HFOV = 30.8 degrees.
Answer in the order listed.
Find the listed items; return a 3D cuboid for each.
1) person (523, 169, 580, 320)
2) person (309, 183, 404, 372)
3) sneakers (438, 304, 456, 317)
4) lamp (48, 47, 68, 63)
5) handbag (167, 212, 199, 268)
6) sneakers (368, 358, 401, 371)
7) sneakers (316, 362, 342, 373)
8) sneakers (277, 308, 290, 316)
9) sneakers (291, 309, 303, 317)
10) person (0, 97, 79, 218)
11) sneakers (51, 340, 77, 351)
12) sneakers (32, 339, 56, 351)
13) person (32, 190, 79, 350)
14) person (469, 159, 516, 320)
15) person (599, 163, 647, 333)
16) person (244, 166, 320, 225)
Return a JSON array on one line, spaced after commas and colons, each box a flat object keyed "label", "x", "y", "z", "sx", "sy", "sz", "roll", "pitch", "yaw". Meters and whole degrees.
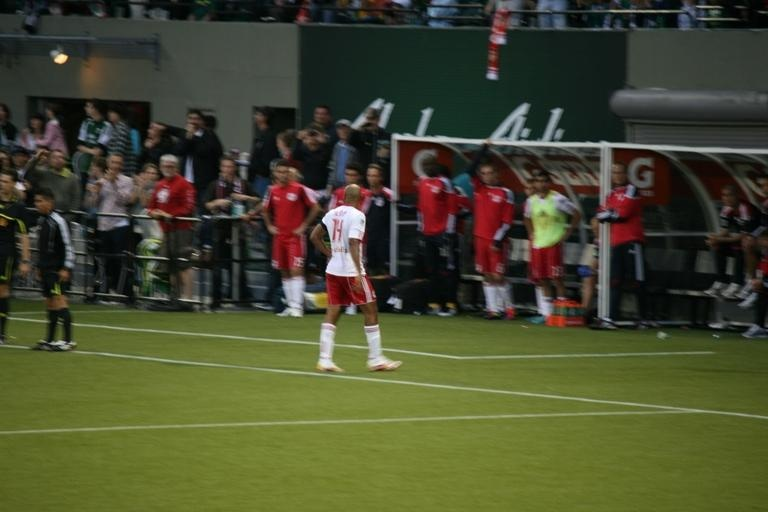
[{"label": "person", "x": 2.585, "y": -0.158, "z": 22.041, "sx": 0.889, "sy": 2.390, "sz": 0.504, "roll": 0, "pitch": -1, "yaw": 43}, {"label": "person", "x": -0.470, "y": 0.267, "z": 18.970, "sx": 1.079, "sy": 2.543, "sz": 1.121, "roll": 1, "pitch": -1, "yaw": -4}, {"label": "sneakers", "x": 0.971, "y": 0.865, "z": 22.924, "sx": 0.435, "sy": 0.219, "sz": 0.130, "roll": -1, "pitch": 5, "yaw": -9}, {"label": "lamp", "x": -6.389, "y": -3.975, "z": 27.299, "sx": 0.414, "sy": 0.268, "sz": 0.189, "roll": 19, "pitch": -10, "yaw": 42}, {"label": "handbag", "x": -3.277, "y": -0.208, "z": 22.221, "sx": 0.465, "sy": 0.861, "sz": 0.281, "roll": 1, "pitch": -1, "yaw": -8}, {"label": "sneakers", "x": -0.012, "y": 1.439, "z": 18.793, "sx": 0.460, "sy": 0.151, "sz": 0.171, "roll": -2, "pitch": -1, "yaw": 0}, {"label": "sneakers", "x": -0.696, "y": 1.470, "z": 18.767, "sx": 0.420, "sy": 0.137, "sz": 0.127, "roll": 1, "pitch": 3, "yaw": -13}, {"label": "sneakers", "x": -1.619, "y": 0.884, "z": 22.381, "sx": 0.289, "sy": 0.098, "sz": 0.092, "roll": 0, "pitch": -7, "yaw": 43}, {"label": "sneakers", "x": -1.397, "y": 0.894, "z": 22.220, "sx": 0.162, "sy": 0.111, "sz": 0.122, "roll": 6, "pitch": 5, "yaw": 40}, {"label": "person", "x": -5.890, "y": -1.695, "z": 23.712, "sx": 1.054, "sy": 0.837, "sz": 2.966, "roll": -17, "pitch": 36, "yaw": -25}, {"label": "sneakers", "x": -4.506, "y": 1.245, "z": 19.590, "sx": 0.286, "sy": 0.090, "sz": 0.145, "roll": -5, "pitch": 4, "yaw": -12}, {"label": "sneakers", "x": -4.775, "y": 1.246, "z": 19.588, "sx": 0.274, "sy": 0.078, "sz": 0.145, "roll": 2, "pitch": -7, "yaw": 11}, {"label": "person", "x": -4.604, "y": 0.174, "z": 19.504, "sx": 0.628, "sy": 2.254, "sz": 0.570, "roll": 2, "pitch": -1, "yaw": -23}, {"label": "person", "x": 1.758, "y": -0.277, "z": 22.521, "sx": 0.675, "sy": 2.515, "sz": 0.723, "roll": 2, "pitch": -1, "yaw": -29}, {"label": "person", "x": 3.665, "y": -0.170, "z": 21.597, "sx": 0.745, "sy": 2.531, "sz": 0.544, "roll": 1, "pitch": -1, "yaw": 8}, {"label": "person", "x": -1.490, "y": -0.797, "z": 22.035, "sx": 0.923, "sy": 1.463, "sz": 0.436, "roll": 1, "pitch": -1, "yaw": -1}]
